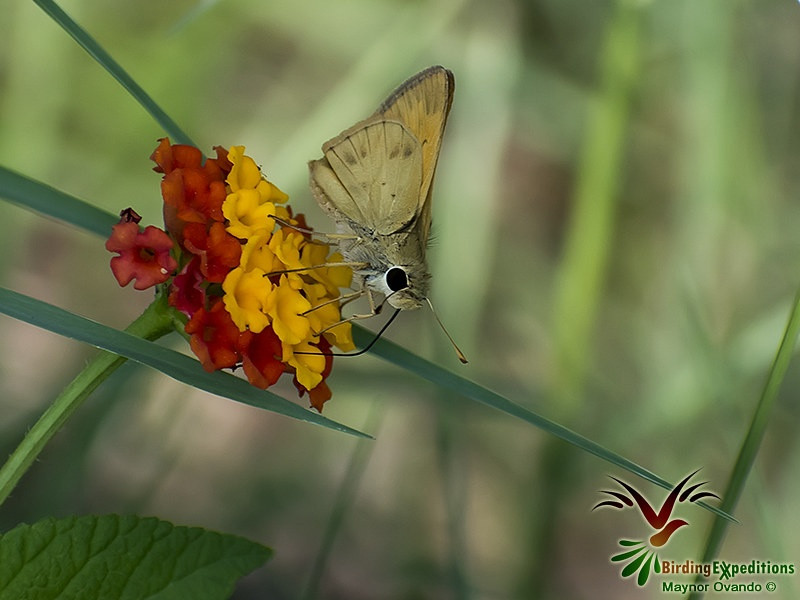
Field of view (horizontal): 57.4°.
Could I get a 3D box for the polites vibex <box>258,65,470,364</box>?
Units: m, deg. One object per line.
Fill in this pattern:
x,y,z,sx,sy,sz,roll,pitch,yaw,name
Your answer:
-0.009,-0.109,0.982,0.253,0.279,0.290,-38,18,-5,polites vibex

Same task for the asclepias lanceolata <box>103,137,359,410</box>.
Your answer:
-0.195,-0.064,0.826,0.266,0.110,0.284,48,27,-30,asclepias lanceolata
